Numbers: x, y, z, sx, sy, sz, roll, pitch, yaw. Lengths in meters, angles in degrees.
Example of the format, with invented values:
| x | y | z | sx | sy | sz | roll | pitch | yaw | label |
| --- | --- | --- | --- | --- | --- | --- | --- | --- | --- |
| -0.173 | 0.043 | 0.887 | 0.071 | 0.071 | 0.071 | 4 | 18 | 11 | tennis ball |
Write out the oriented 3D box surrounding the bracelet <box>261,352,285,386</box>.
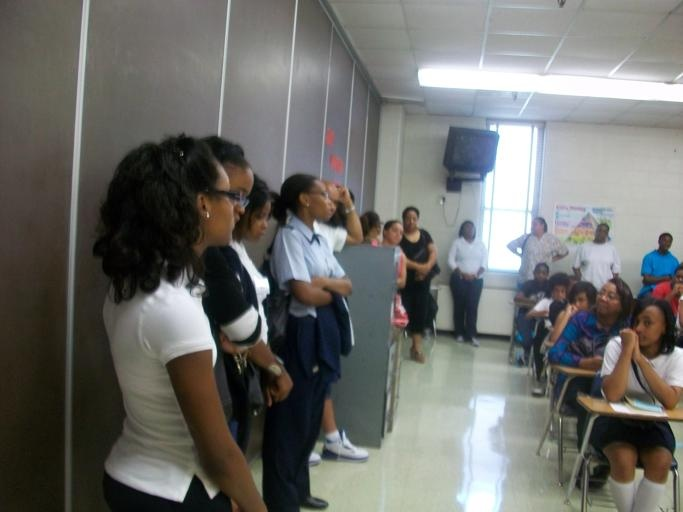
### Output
| x | y | z | sx | sy | sz | roll | pitch | yaw | label |
| --- | --- | --- | --- | --- | --- | --- | --- | --- | --- |
| -0.278 | 0.470 | 2.281 | 0.079 | 0.103 | 0.034 | 44 | 17 | -1 | bracelet |
